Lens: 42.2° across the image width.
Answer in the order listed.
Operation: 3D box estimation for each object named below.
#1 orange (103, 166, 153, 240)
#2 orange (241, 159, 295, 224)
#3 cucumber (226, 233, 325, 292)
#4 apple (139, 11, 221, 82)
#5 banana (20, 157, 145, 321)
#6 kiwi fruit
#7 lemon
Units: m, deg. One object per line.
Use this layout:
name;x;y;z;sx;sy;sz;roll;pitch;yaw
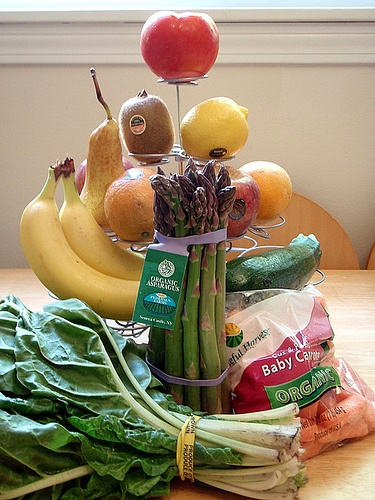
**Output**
orange;-0.071;-0.062;0.618;0.098;0.096;0.087;-1;16;1
orange;0.122;-0.088;0.730;0.098;0.097;0.091;-3;13;0
cucumber;0.132;0.028;0.724;0.073;0.061;0.220;10;17;40
apple;-0.008;-0.281;0.711;0.118;0.087;0.101;-1;15;4
banana;-0.121;-0.002;0.730;0.195;0.230;0.163;18;34;34
kiwi fruit;-0.061;-0.180;0.707;0.070;0.088;0.054;-4;7;-5
lemon;0.046;-0.168;0.719;0.104;0.083;0.080;-15;23;16
